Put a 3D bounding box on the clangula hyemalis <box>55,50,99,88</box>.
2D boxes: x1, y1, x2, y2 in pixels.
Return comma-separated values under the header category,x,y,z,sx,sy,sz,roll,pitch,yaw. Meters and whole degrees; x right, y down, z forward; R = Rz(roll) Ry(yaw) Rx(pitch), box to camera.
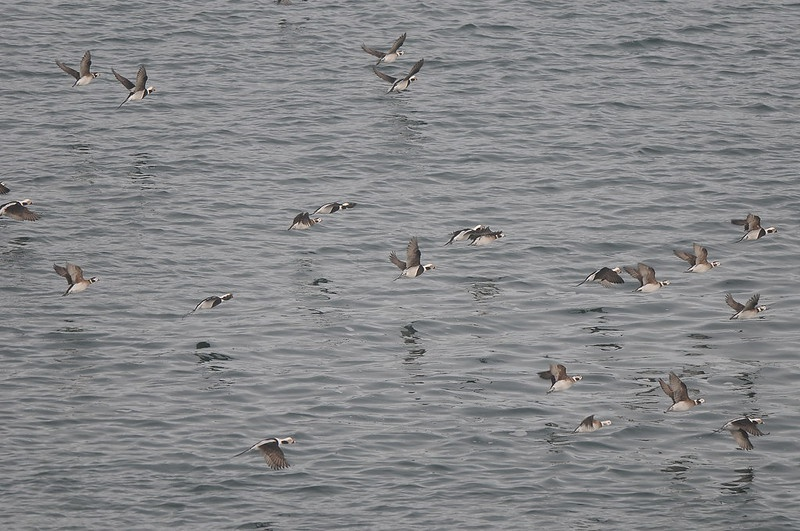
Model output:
category,x,y,z,sx,sy,sz,roll,pitch,yaw
clangula hyemalis,-15.584,-9.424,75.366,1.772,1.961,0.787,-2,62,-33
